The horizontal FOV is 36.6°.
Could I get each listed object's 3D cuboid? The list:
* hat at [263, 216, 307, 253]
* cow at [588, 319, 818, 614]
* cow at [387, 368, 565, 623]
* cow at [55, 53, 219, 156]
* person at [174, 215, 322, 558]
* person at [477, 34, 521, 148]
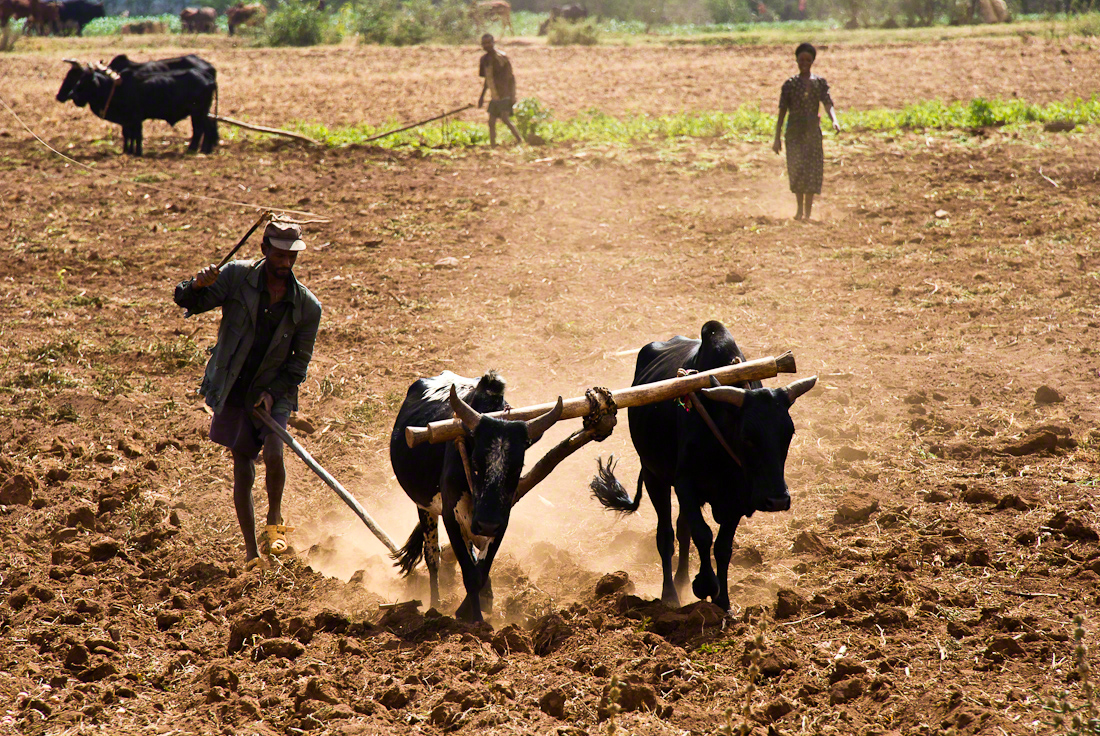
[{"bbox_3d":[-3.039,-1.530,19.081,0.437,0.410,0.193,-4,16,-9],"label":"hat"},{"bbox_3d":[1.793,1.100,19.280,1.079,3.230,2.430,-15,19,-37],"label":"cow"},{"bbox_3d":[-1.033,1.424,19.066,1.069,2.840,2.019,-13,18,-33],"label":"cow"},{"bbox_3d":[-7.652,-4.832,31.118,2.975,1.611,0.949,-1,9,0],"label":"cow"},{"bbox_3d":[-3.398,0.210,19.409,1.442,3.890,0.848,-5,16,-11],"label":"person"},{"bbox_3d":[-0.911,-5.037,30.212,0.747,1.993,1.230,-2,15,-1],"label":"person"}]
